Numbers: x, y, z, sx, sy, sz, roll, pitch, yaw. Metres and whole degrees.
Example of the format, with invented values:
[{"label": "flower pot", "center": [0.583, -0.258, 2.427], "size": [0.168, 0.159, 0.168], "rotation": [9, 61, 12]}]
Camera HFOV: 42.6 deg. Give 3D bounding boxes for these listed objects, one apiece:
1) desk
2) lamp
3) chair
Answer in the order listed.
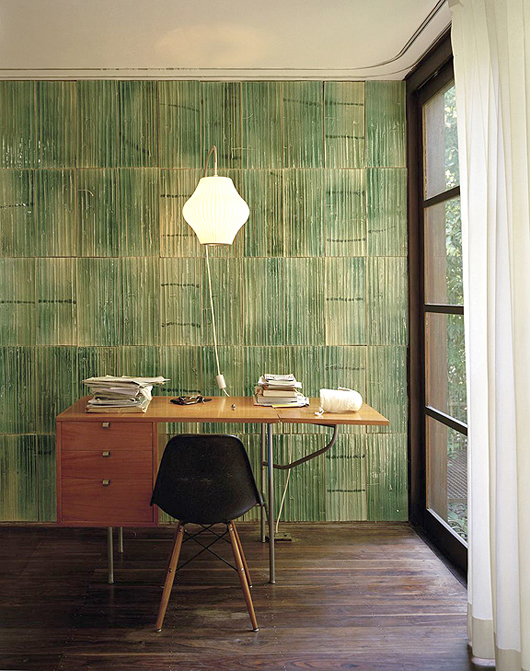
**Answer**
[{"label": "desk", "center": [-0.190, 0.676, 3.097], "size": [1.372, 0.738, 0.596], "rotation": [1, 5, -3]}, {"label": "lamp", "center": [-0.205, -0.308, 3.310], "size": [0.283, 1.295, 0.650], "rotation": [0, 6, 3]}, {"label": "chair", "center": [-0.215, 0.716, 2.573], "size": [0.395, 0.697, 0.487], "rotation": [0, -8, 4]}]
